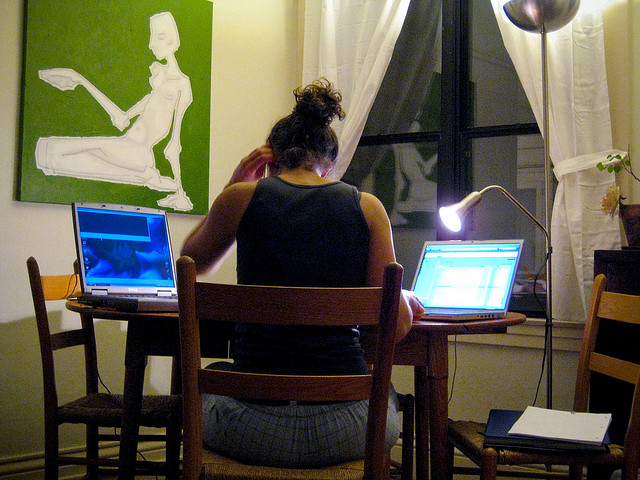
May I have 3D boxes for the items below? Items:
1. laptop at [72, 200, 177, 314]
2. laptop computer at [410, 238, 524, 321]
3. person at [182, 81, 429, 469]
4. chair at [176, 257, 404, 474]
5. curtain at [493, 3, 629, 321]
[{"bbox_3d":[-0.832,0.065,2.583,0.489,0.537,0.391,2,-3,-33],"label":"laptop"},{"bbox_3d":[0.665,0.153,2.716,0.456,0.312,0.245,5,7,34],"label":"laptop computer"},{"bbox_3d":[-0.081,0.251,2.312,0.867,1.381,1.263,0,-11,5],"label":"person"},{"bbox_3d":[-0.096,0.379,2.070,0.658,1.203,0.740,1,5,-1],"label":"chair"},{"bbox_3d":[1.298,-0.419,3.130,0.342,1.665,0.685,-4,8,-41],"label":"curtain"}]
